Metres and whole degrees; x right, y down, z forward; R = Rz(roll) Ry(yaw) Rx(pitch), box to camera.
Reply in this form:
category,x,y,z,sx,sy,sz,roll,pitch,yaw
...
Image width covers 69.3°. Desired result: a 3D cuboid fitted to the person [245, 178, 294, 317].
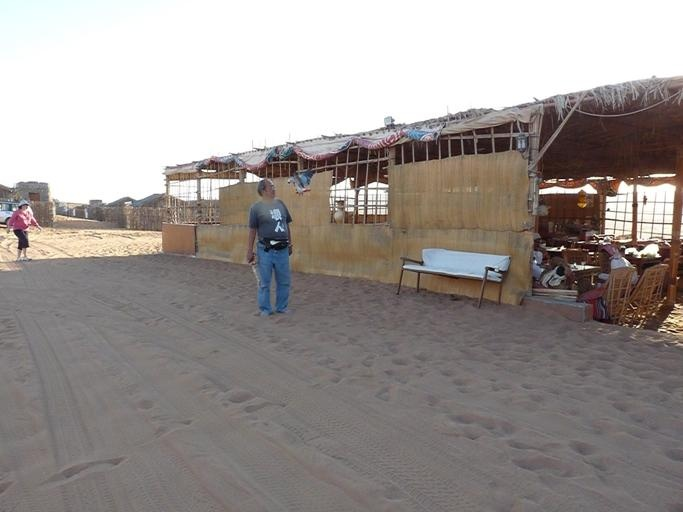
category,x,y,z,sx,sy,sz,roll,pitch,yaw
person,-1.172,-0.118,8.090,0.682,2.175,0.439,-1,7,-14

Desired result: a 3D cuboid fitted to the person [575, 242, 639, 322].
category,x,y,z,sx,sy,sz,roll,pitch,yaw
person,4.312,0.402,8.308,0.913,1.379,0.983,11,24,37

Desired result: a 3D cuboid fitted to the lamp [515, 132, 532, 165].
category,x,y,z,sx,sy,sz,roll,pitch,yaw
lamp,3.172,-1.859,8.635,0.259,0.467,0.210,5,8,31
